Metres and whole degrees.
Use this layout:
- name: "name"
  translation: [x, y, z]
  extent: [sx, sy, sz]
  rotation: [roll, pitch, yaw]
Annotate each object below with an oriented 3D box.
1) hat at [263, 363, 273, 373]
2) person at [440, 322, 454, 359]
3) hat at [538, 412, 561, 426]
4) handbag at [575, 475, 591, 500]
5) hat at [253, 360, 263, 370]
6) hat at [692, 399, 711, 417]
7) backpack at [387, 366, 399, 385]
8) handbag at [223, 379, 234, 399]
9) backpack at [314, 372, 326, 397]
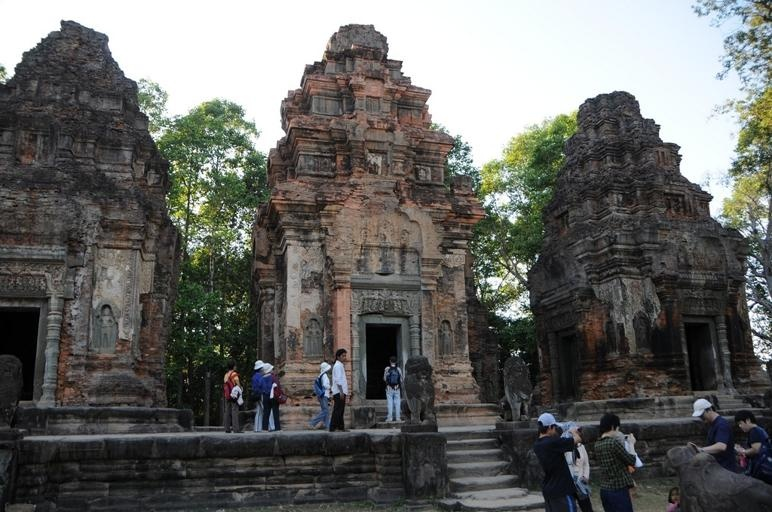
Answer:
- name: "hat"
  translation: [-2.773, 2.640, 14.788]
  extent: [0.234, 0.118, 0.233]
  rotation: [-28, 20, 0]
- name: "person"
  translation: [1.905, 2.608, 19.799]
  extent: [0.459, 1.105, 0.107]
  rotation: [9, -20, -27]
- name: "hat"
  translation: [2.595, 2.601, 9.956]
  extent: [0.333, 0.167, 0.205]
  rotation: [-2, 4, -25]
- name: "handbag"
  translation: [3.138, 3.715, 10.015]
  extent: [0.265, 0.352, 0.078]
  rotation: [10, -21, -31]
- name: "hat"
  translation: [-3.002, 2.569, 14.854]
  extent: [0.245, 0.104, 0.310]
  rotation: [-1, -4, -15]
- name: "hat"
  translation: [5.205, 2.496, 10.311]
  extent: [0.274, 0.277, 0.510]
  rotation: [-7, -18, 17]
- name: "backpack"
  translation: [0.170, 3.081, 15.992]
  extent: [0.401, 0.543, 0.350]
  rotation: [-3, -18, 7]
- name: "handbag"
  translation: [-3.682, 3.142, 14.692]
  extent: [0.119, 0.445, 0.414]
  rotation: [11, -21, -32]
- name: "backpack"
  translation: [-1.487, 2.977, 14.445]
  extent: [0.229, 0.524, 0.211]
  rotation: [-2, -18, 5]
